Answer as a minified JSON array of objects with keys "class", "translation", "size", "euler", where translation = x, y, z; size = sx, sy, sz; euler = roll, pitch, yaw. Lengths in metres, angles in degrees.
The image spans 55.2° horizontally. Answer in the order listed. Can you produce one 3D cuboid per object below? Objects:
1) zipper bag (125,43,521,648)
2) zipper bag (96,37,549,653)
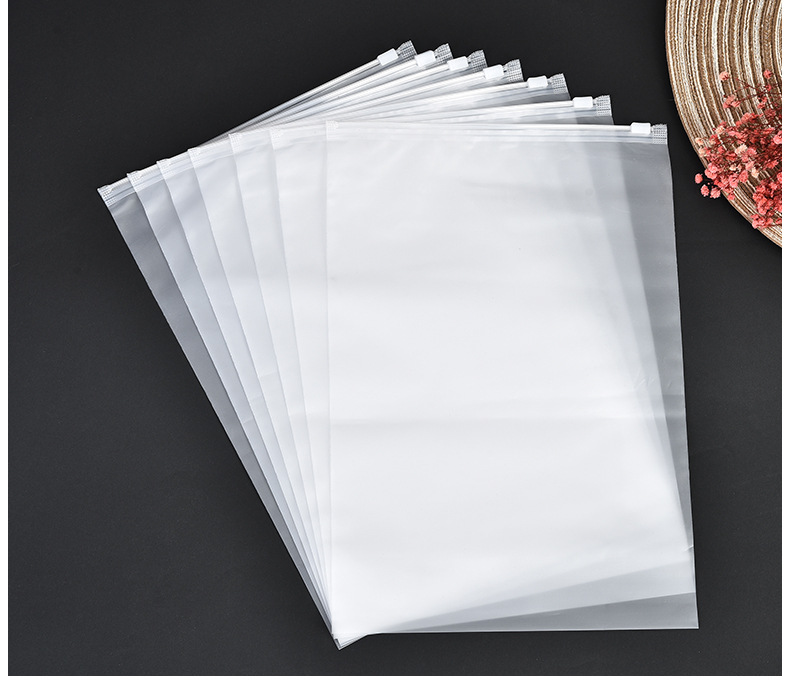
[{"class":"zipper bag","translation":[-0.017,-0.032,1.196],"size":[0.647,0.741,0.180],"euler":[-23,0,4]},{"class":"zipper bag","translation":[-0.047,-0.029,1.324],"size":[0.692,0.812,0.220],"euler":[-27,-1,11]}]
